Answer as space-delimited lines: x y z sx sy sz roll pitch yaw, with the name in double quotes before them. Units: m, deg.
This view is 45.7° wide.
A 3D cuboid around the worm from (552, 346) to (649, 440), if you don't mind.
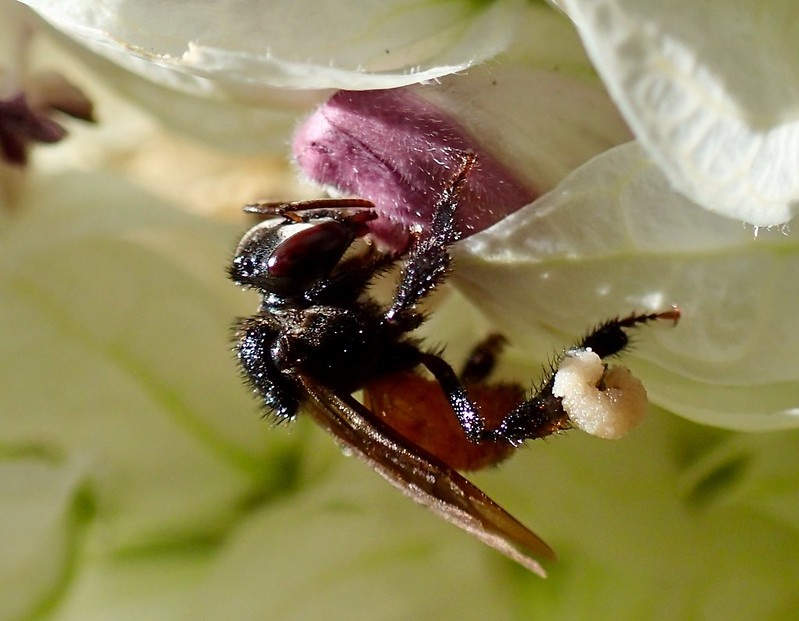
"worm" 0.204 0.087 0.968 0.086 0.027 0.092 -33 54 -7
